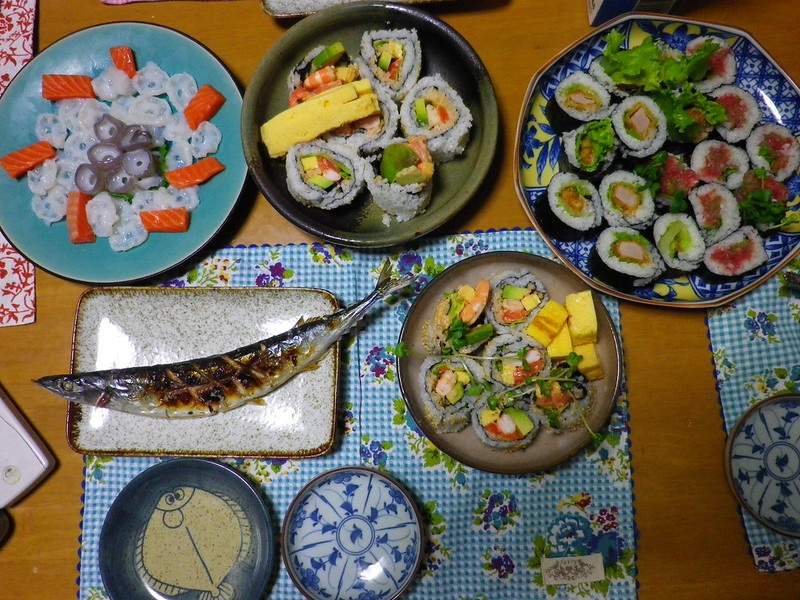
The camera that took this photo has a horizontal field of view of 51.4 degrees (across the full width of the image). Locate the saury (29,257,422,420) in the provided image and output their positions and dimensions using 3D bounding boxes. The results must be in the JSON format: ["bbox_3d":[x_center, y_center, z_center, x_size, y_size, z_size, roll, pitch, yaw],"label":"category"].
[{"bbox_3d":[-0.788,0.296,3.851,1.698,0.462,0.301,-16,62,1],"label":"saury"}]

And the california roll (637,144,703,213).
[{"bbox_3d":[1.230,-0.549,3.842,0.221,0.089,0.314,-25,84,-3],"label":"california roll"}]

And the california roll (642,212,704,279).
[{"bbox_3d":[1.299,-0.197,3.805,0.313,0.284,0.122,-24,21,10],"label":"california roll"}]

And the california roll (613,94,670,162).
[{"bbox_3d":[1.090,-0.799,3.798,0.207,0.079,0.303,-11,85,3],"label":"california roll"}]
